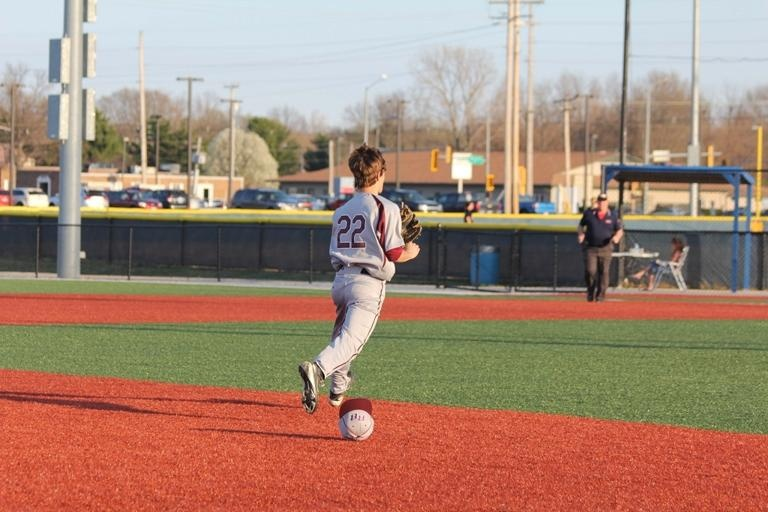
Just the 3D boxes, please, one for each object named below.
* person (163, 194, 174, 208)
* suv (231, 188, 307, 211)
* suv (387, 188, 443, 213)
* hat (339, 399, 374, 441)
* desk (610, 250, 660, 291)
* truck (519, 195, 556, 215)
[{"bbox_3d":[-11.624,-3.004,83.155,0.331,0.686,0.464,-2,-6,40],"label":"person"},{"bbox_3d":[-6.323,-3.113,82.935,3.716,1.129,3.589,1,1,-7],"label":"suv"},{"bbox_3d":[1.223,-2.992,87.741,4.168,1.440,1.740,0,6,6],"label":"suv"},{"bbox_3d":[-0.735,4.292,40.752,0.856,1.094,0.582,2,7,-6],"label":"hat"},{"bbox_3d":[9.078,0.471,55.778,1.615,1.396,1.562,1,0,-1],"label":"desk"},{"bbox_3d":[8.388,-2.737,84.848,2.339,0.997,1.239,-1,6,0],"label":"truck"}]
